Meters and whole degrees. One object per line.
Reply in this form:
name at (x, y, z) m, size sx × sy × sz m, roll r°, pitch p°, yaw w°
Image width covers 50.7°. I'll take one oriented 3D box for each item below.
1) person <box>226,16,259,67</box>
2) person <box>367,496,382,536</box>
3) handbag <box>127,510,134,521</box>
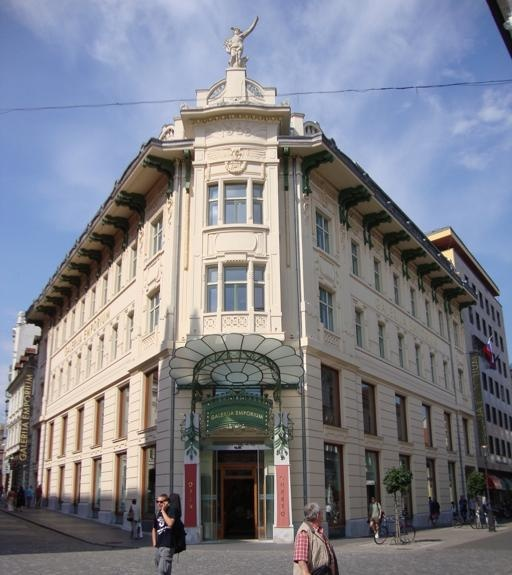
person at (-0.898, -12.025, 26.686) m, size 1.487 × 0.469 × 2.759 m, roll 8°, pitch -31°, yaw -1°
person at (4.985, 9.509, 22.312) m, size 0.524 × 1.579 × 1.916 m, roll -5°, pitch -26°, yaw 10°
handbag at (-5.045, 9.200, 21.892) m, size 0.231 × 0.492 × 0.563 m, roll 5°, pitch -26°, yaw -10°
